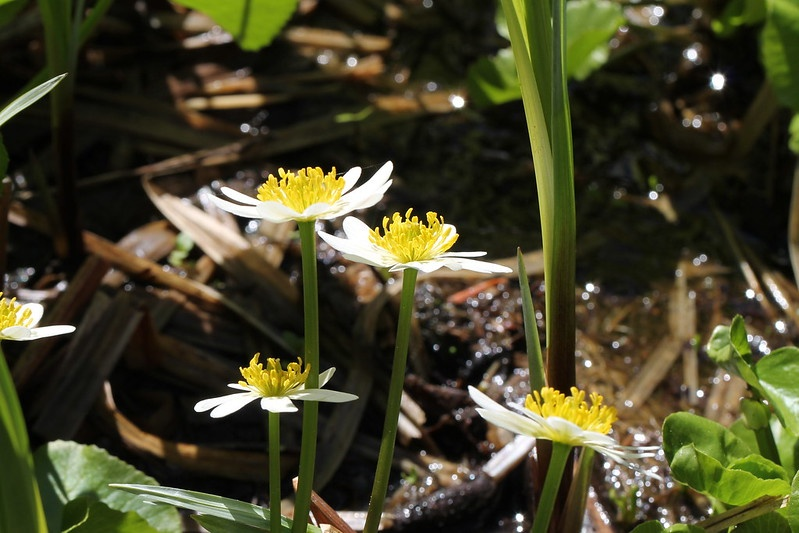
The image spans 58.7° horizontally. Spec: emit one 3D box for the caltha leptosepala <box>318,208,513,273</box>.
[{"bbox_3d":[0.012,-0.029,0.842,0.147,0.049,0.138,0,-13,-34],"label":"caltha leptosepala"}]

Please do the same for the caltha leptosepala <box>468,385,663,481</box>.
[{"bbox_3d":[0.190,0.172,0.776,0.170,0.193,0.052,13,66,20],"label":"caltha leptosepala"}]

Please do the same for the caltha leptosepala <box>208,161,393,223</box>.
[{"bbox_3d":[-0.111,-0.074,0.843,0.162,0.054,0.156,-13,-1,-36],"label":"caltha leptosepala"}]
